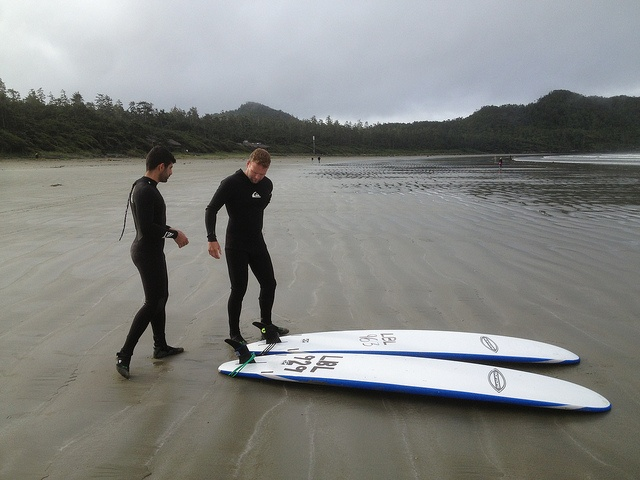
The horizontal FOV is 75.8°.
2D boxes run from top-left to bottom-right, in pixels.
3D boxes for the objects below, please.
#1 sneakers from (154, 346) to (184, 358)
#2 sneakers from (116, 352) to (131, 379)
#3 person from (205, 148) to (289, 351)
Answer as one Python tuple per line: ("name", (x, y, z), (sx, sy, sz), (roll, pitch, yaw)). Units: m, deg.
("sneakers", (-1.782, 1.331, 4.877), (0.317, 0.125, 0.134), (-6, 10, -28))
("sneakers", (-2.113, 1.363, 4.427), (0.130, 0.257, 0.158), (-4, 16, -26))
("person", (-0.884, 0.002, 4.892), (0.859, 2.171, 0.701), (-6, 16, -29))
